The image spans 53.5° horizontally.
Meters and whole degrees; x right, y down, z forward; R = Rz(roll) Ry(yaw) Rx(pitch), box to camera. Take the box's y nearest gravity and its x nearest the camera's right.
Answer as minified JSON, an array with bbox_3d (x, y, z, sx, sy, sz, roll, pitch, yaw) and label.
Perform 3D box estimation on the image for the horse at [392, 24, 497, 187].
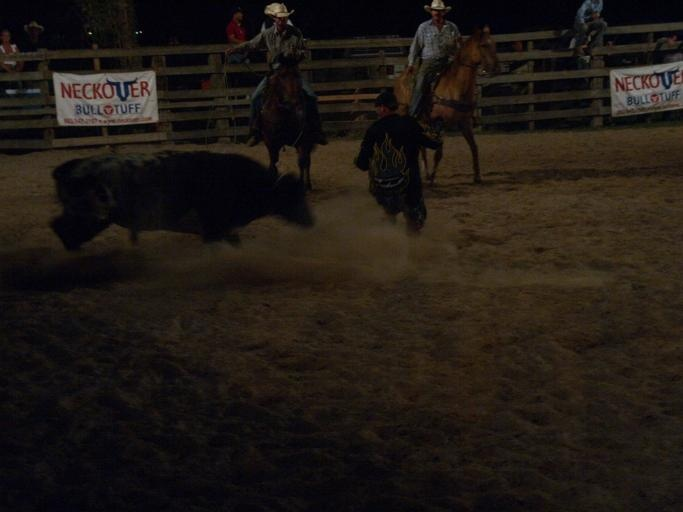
[{"bbox_3d":[1.900,-2.686,12.690,0.865,2.577,3.477,-7,12,-23],"label":"horse"}]

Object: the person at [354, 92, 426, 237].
[{"bbox_3d":[0.676,-1.158,8.793,0.878,1.829,0.458,0,14,4],"label":"person"}]
